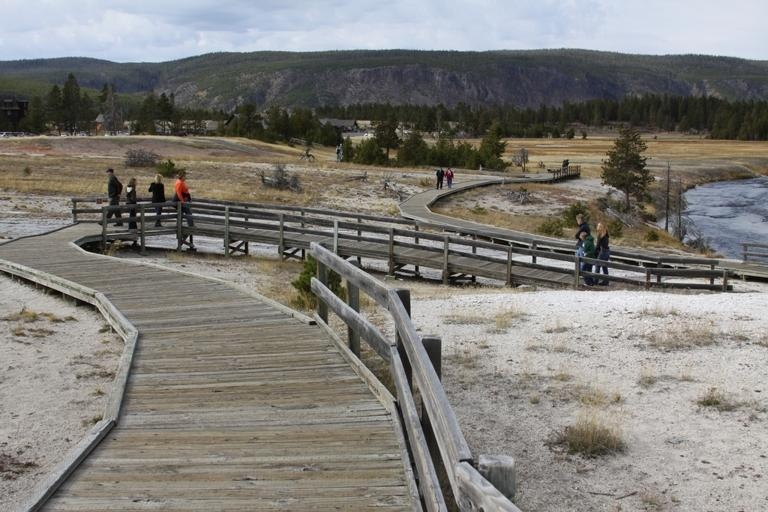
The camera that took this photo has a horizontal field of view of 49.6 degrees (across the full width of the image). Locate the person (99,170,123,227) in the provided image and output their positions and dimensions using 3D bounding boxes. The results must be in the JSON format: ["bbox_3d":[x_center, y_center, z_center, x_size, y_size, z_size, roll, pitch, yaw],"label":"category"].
[{"bbox_3d":[-8.576,-1.769,26.543,0.435,1.786,3.260,1,13,-18],"label":"person"}]

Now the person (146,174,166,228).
[{"bbox_3d":[-7.348,-1.933,27.046,0.467,1.579,2.387,2,13,-17],"label":"person"}]

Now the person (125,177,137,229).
[{"bbox_3d":[-8.065,-1.685,26.651,0.317,1.387,2.759,2,13,-17],"label":"person"}]
